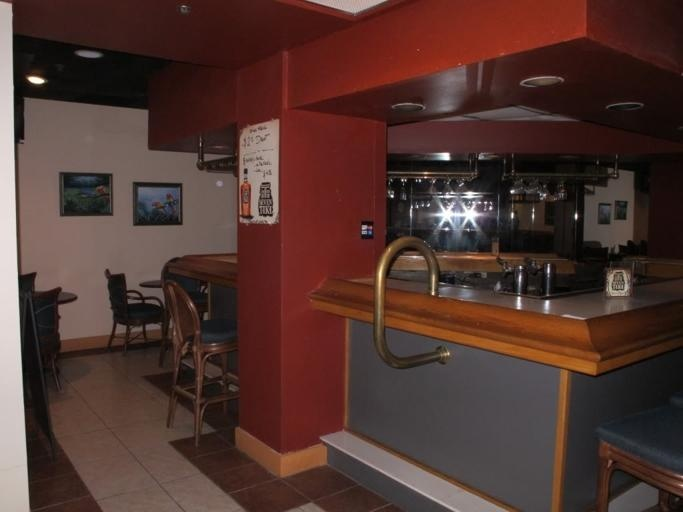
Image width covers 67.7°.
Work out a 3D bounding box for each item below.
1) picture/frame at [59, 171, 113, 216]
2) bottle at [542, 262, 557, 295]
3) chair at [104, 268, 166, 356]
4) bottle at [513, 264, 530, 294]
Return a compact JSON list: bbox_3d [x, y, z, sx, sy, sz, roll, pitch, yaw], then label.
[{"bbox_3d":[-3.418,-0.839,6.793,0.533,0.601,0.055,-3,4,-32],"label":"picture/frame"},{"bbox_3d":[1.360,0.148,3.353,0.076,0.281,0.064,0,38,22],"label":"bottle"},{"bbox_3d":[-2.537,0.666,6.355,0.621,0.984,0.679,3,2,41],"label":"chair"},{"bbox_3d":[1.151,0.157,3.285,0.085,0.175,0.304,2,8,19],"label":"bottle"}]
